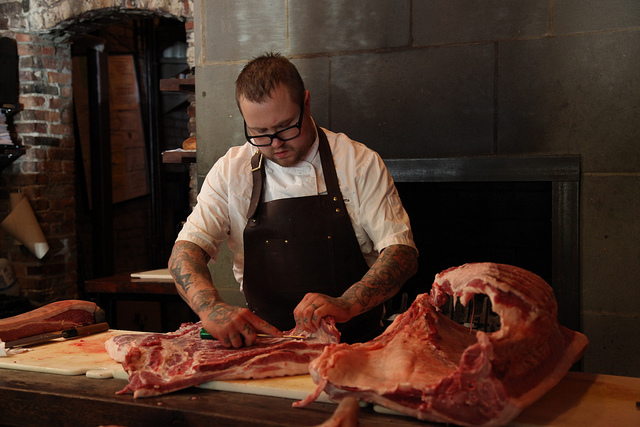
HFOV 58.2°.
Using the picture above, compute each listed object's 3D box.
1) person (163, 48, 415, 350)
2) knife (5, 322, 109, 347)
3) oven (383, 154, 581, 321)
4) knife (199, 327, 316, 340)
[{"bbox_3d":[-0.154,-0.080,2.983,1.304,1.475,0.781,0,8,1],"label":"person"},{"bbox_3d":[-1.362,0.623,2.947,0.091,0.059,0.679,3,3,35],"label":"knife"},{"bbox_3d":[1.066,0.130,3.626,1.189,1.097,0.389,0,0,15],"label":"oven"},{"bbox_3d":[-0.291,0.559,2.681,0.430,0.046,0.069,1,-6,0],"label":"knife"}]
